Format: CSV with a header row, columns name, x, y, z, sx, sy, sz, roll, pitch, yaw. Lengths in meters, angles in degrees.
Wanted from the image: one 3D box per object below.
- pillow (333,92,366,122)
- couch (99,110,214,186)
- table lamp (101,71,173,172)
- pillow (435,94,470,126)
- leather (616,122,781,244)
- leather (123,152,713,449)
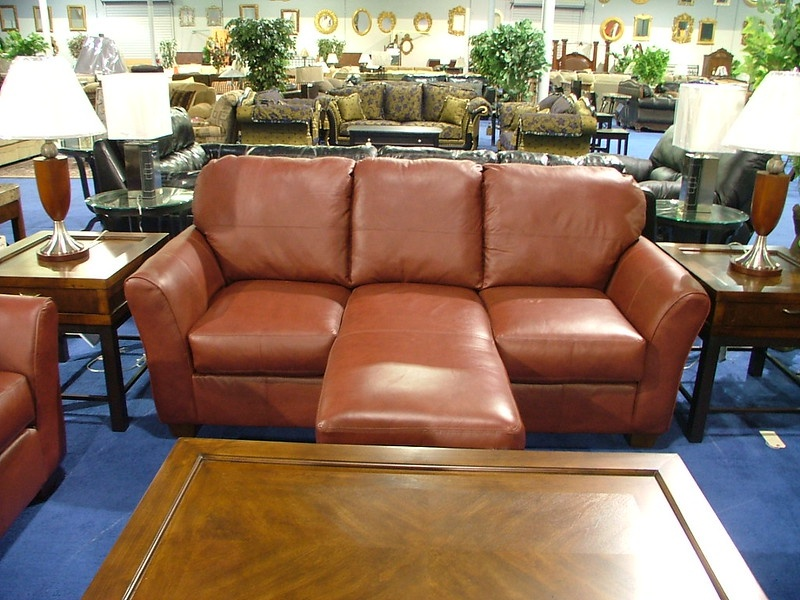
name,x,y,z,sx,sy,sz,roll,pitch,yaw
pillow,-0.699,-2.697,8.767,0.130,0.421,0.478,-10,4,44
couch,-1.470,-0.893,3.721,0.463,0.496,0.747,13,22,6
table lamp,-1.353,-0.932,3.290,0.418,0.511,0.361,0,48,-11
pillow,0.763,-2.682,8.841,0.490,0.446,0.157,29,16,36
leather,1.617,-0.617,3.384,0.589,0.621,0.978,2,27,3
leather,0.065,0.061,2.593,2.244,1.048,1.370,1,24,1
